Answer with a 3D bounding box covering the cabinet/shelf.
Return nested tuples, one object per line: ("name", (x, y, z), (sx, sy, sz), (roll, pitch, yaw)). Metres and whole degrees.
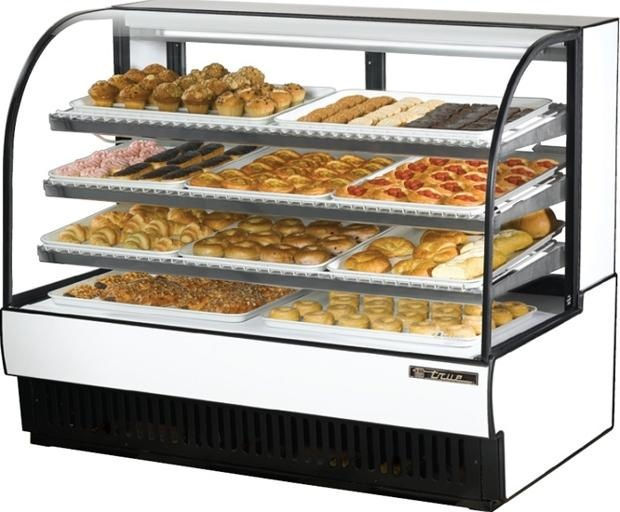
("cabinet/shelf", (0.125, 0.049, 3.263), (3.637, 1.894, 1.657), (5, 13, 26))
